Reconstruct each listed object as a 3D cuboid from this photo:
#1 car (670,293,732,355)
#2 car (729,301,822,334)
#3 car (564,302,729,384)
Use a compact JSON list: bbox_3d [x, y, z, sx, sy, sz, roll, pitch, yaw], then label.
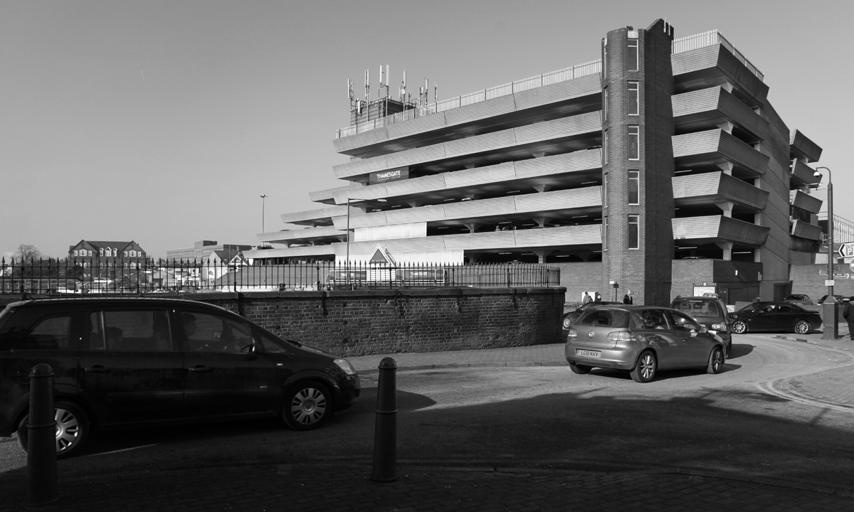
[{"bbox_3d":[9.653,2.295,29.385,1.720,1.316,2.898,0,4,13],"label":"car"},{"bbox_3d":[16.024,2.958,39.350,4.685,1.289,1.827,2,-4,5],"label":"car"},{"bbox_3d":[6.132,2.325,23.323,3.957,1.988,1.676,-3,10,-19],"label":"car"}]
